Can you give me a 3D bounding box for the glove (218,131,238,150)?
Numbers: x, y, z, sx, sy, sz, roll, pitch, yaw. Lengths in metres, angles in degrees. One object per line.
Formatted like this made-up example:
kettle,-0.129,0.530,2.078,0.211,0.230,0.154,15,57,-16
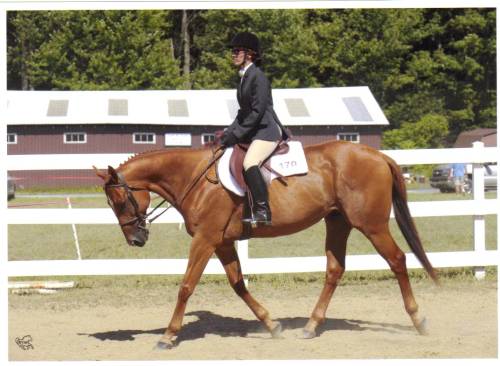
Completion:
glove,-0.764,-1.490,35.704,0.589,0.447,0.180,-40,-21,8
